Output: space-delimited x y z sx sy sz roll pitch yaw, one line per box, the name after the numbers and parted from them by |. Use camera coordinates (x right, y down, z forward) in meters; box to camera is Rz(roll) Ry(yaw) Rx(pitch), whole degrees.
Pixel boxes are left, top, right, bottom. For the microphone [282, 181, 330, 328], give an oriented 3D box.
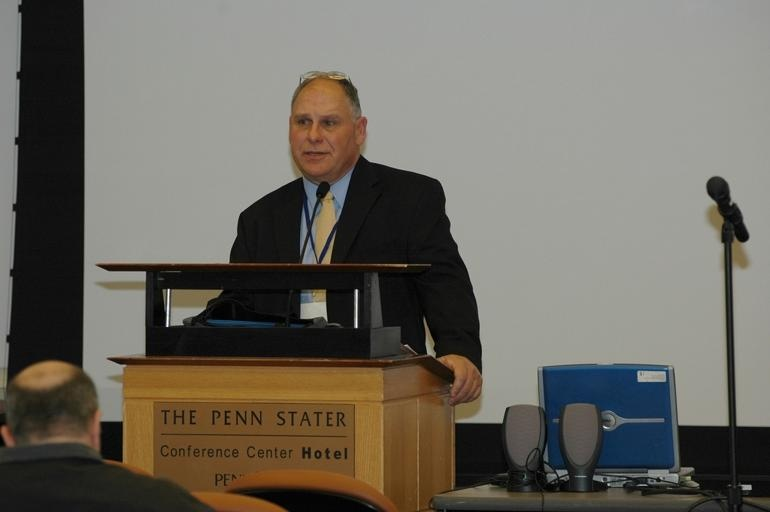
-0.341 -0.095 3.684 0.170 0.584 0.052 5 -37 0 | microphone

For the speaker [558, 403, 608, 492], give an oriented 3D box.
0.824 0.806 3.521 0.171 0.360 0.050 -1 -12 10 | speaker

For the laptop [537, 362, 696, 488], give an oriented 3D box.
1.023 0.727 3.822 0.602 0.525 0.508 -1 -13 9 | laptop

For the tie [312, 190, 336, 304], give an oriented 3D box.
-0.282 -0.062 3.735 0.118 0.446 0.044 3 -18 12 | tie

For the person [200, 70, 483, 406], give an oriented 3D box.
-0.143 -0.128 3.763 1.123 1.574 0.606 0 -12 2 | person
